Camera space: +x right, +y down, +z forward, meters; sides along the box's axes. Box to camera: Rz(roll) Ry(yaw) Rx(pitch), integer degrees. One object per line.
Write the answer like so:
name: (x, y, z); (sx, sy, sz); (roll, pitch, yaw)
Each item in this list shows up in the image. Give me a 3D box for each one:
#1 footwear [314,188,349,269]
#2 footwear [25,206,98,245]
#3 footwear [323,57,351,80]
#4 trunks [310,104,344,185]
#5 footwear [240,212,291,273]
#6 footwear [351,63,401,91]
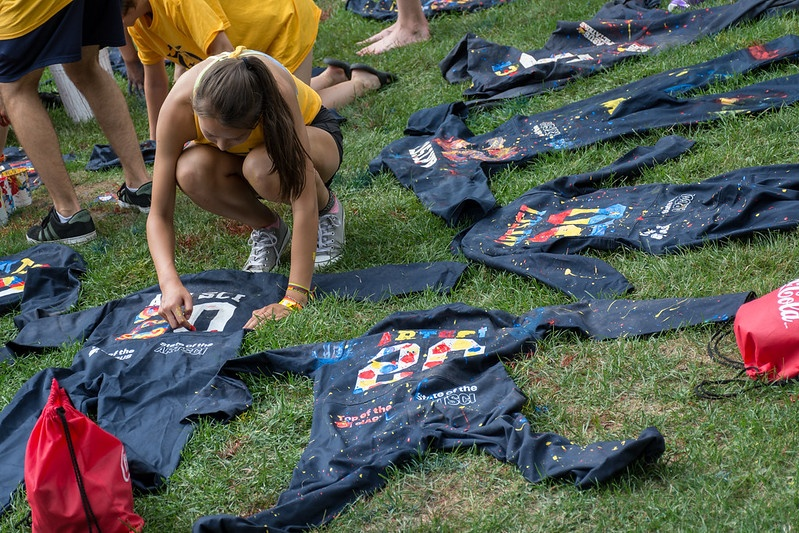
footwear: (-0.415, -0.225, 4.888); (0.155, 0.183, 0.471); (0, 58, 7)
footwear: (-2.431, -0.281, 5.546); (0.538, 0.236, 0.212); (4, 16, 20)
footwear: (-0.529, -1.762, 7.003); (0.319, 0.114, 0.120); (15, 35, -16)
trunks: (-0.467, -0.789, 5.039); (0.184, 0.437, 0.324); (29, 8, -10)
footwear: (-0.796, -0.167, 4.941); (0.159, 0.194, 0.465); (6, 55, 27)
footwear: (-0.207, -1.691, 6.995); (0.485, 0.177, 0.164); (20, 25, -18)
